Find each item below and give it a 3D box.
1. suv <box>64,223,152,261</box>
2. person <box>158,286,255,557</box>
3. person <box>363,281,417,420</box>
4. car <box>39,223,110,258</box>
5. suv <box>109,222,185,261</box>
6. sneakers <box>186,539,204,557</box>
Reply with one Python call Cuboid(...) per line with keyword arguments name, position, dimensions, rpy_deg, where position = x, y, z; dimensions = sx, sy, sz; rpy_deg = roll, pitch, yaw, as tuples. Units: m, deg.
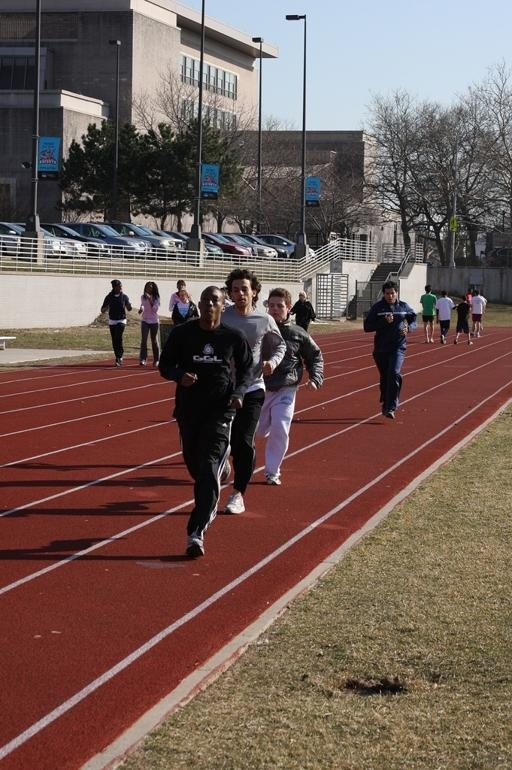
Cuboid(name="suv", position=(-6.455, -6.259, 37.787), dimensions=(3.985, 1.282, 1.707), rpy_deg=(6, 8, 23))
Cuboid(name="person", position=(-0.355, 0.229, 5.694), dimensions=(0.507, 1.717, 0.677), rpy_deg=(1, 5, 22))
Cuboid(name="person", position=(1.869, -0.485, 12.381), dimensions=(0.684, 1.951, 0.897), rpy_deg=(0, 5, 8))
Cuboid(name="car", position=(-7.374, -5.917, 36.338), dimensions=(3.497, 1.135, 1.586), rpy_deg=(4, 10, 29))
Cuboid(name="suv", position=(-4.797, -6.461, 39.789), dimensions=(3.988, 1.409, 1.859), rpy_deg=(11, 16, 31))
Cuboid(name="sneakers", position=(-0.384, 1.026, 5.501), dimensions=(0.105, 0.165, 0.179), rpy_deg=(-1, 5, -5))
